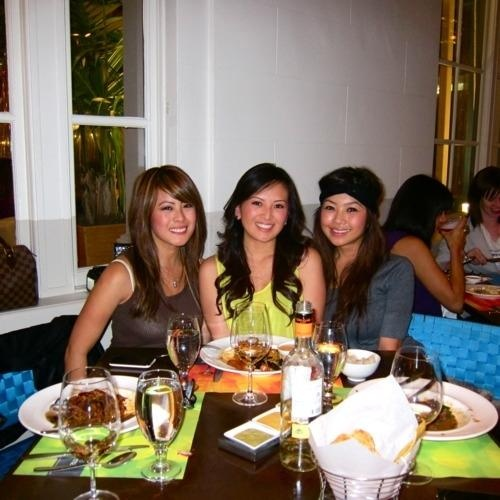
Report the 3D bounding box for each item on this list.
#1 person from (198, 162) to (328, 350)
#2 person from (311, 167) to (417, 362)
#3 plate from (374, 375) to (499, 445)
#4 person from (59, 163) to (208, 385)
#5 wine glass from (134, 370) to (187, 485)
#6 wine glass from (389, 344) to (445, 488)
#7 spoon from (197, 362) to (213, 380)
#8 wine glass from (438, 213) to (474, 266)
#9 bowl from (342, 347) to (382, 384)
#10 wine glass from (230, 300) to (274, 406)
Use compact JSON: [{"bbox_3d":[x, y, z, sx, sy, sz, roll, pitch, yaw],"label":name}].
[{"bbox_3d":[0.049,0.060,1.875,0.482,0.855,0.471,4,20,12],"label":"person"},{"bbox_3d":[0.457,0.124,1.893,0.489,0.918,0.463,-9,-21,30],"label":"person"},{"bbox_3d":[0.357,0.310,0.801,0.207,0.060,0.232,-3,10,1],"label":"plate"},{"bbox_3d":[-0.387,0.073,1.745,0.803,0.991,0.303,-13,34,-39],"label":"person"},{"bbox_3d":[-0.155,0.299,0.728,0.071,0.184,0.074,0,7,-11],"label":"wine glass"},{"bbox_3d":[0.354,0.298,0.841,0.089,0.173,0.089,31,-26,-31],"label":"wine glass"},{"bbox_3d":[-0.126,0.340,1.167,0.029,0.009,0.034,9,17,3],"label":"spoon"},{"bbox_3d":[1.364,-0.063,2.739,0.257,0.419,0.144,-1,6,-16],"label":"wine glass"},{"bbox_3d":[0.297,0.321,1.141,0.082,0.047,0.086,-1,13,0],"label":"bowl"},{"bbox_3d":[0.000,0.262,1.103,0.108,0.290,0.110,7,11,37],"label":"wine glass"}]
